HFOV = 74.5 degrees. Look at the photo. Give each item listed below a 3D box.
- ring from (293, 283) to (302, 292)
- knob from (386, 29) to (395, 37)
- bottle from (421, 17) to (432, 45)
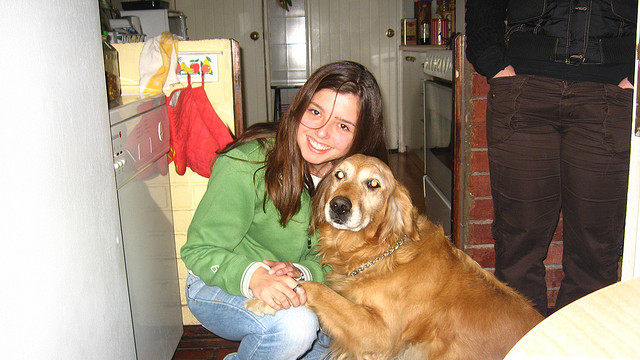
[{"bbox_3d":[-0.099,0.493,1.921,0.009,0.024,0.026,38,-17,-16],"label":"ring"},{"bbox_3d":[1.087,-2.263,6.491,0.124,0.110,0.031,0,15,6],"label":"knob"},{"bbox_3d":[1.369,-1.939,5.459,0.118,0.327,0.140,2,15,14],"label":"bottle"}]
